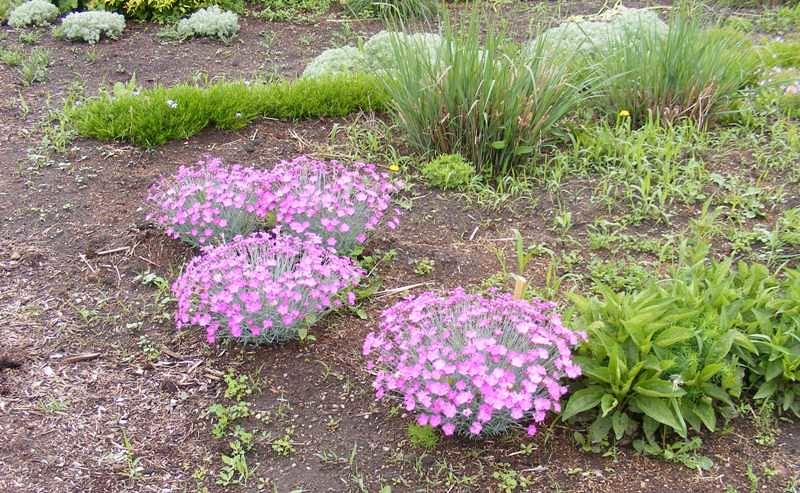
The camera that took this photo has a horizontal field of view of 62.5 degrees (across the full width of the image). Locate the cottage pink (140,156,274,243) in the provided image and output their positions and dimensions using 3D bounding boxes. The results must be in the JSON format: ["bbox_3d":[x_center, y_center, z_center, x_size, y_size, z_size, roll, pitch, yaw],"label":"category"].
[{"bbox_3d":[-1.661,-0.416,5.782,0.925,0.550,0.934,-9,30,-22],"label":"cottage pink"}]

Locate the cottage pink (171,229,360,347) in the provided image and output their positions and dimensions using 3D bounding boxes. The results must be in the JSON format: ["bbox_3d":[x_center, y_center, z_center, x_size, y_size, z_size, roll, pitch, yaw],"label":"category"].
[{"bbox_3d":[-1.062,0.350,5.311,1.446,0.645,0.737,-11,41,-2],"label":"cottage pink"}]

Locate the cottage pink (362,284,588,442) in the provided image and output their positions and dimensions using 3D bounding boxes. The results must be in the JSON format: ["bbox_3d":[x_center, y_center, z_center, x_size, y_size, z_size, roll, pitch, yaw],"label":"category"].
[{"bbox_3d":[0.568,0.817,4.809,1.403,0.768,1.160,-5,39,-4],"label":"cottage pink"}]
